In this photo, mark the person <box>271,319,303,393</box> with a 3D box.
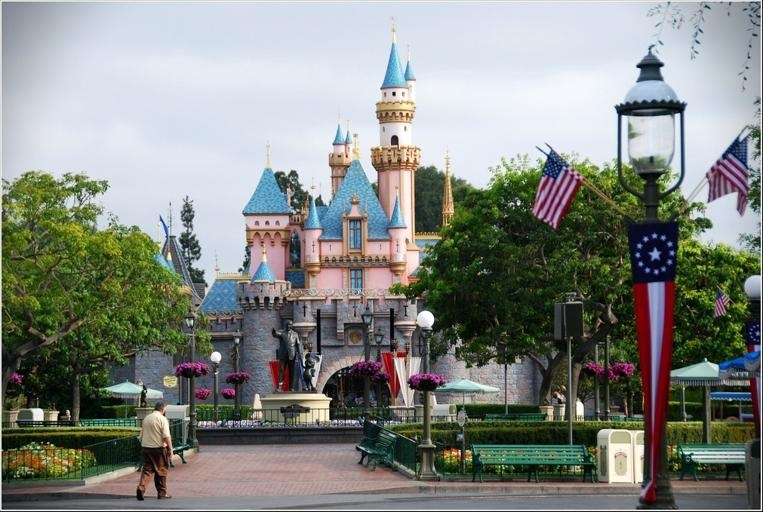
[{"bbox_3d":[-4.125,4.385,79.447,1.386,3.145,1.117,1,3,11],"label":"person"}]

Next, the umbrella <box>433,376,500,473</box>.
[{"bbox_3d":[3.912,7.617,84.800,2.538,4.088,2.106,3,1,27],"label":"umbrella"}]

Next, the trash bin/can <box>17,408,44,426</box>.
[{"bbox_3d":[-15.615,7.062,79.002,1.103,0.992,0.783,-1,1,8],"label":"trash bin/can"}]

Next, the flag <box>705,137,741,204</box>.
[{"bbox_3d":[11.293,-2.879,57.912,1.559,2.057,0.996,6,-11,-42],"label":"flag"}]

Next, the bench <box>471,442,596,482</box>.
[{"bbox_3d":[5.148,6.981,60.511,4.099,1.260,1.959,-2,-8,2],"label":"bench"}]

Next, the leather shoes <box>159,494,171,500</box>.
[{"bbox_3d":[-6.920,7.639,57.082,0.405,0.164,0.138,-5,7,-31],"label":"leather shoes"}]

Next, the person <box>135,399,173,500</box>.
[{"bbox_3d":[-7.372,6.275,57.829,1.048,3.128,1.543,0,-8,-7],"label":"person"}]

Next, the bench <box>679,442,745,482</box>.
[{"bbox_3d":[11.422,7.021,61.521,2.165,1.287,2.760,-2,-8,9],"label":"bench"}]

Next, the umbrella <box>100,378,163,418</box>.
[{"bbox_3d":[-12.752,7.162,90.514,3.337,1.786,3.809,1,-4,-8],"label":"umbrella"}]

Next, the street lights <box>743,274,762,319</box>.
[{"bbox_3d":[11.997,1.311,57.271,0.447,1.369,0.812,-3,-8,9],"label":"street lights"}]

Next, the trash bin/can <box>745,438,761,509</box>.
[{"bbox_3d":[11.419,6.580,54.431,0.410,2.070,0.706,-2,-8,8],"label":"trash bin/can"}]

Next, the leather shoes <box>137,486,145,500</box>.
[{"bbox_3d":[-7.714,7.527,56.968,0.181,0.469,0.206,-3,-3,15],"label":"leather shoes"}]
